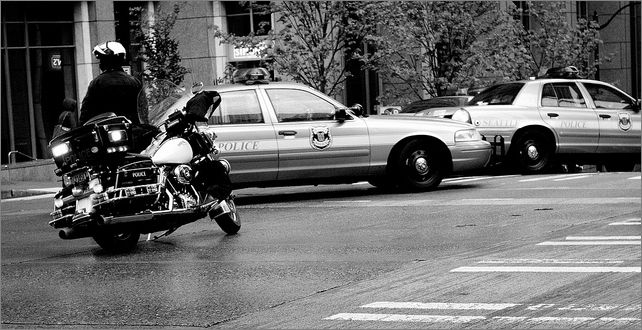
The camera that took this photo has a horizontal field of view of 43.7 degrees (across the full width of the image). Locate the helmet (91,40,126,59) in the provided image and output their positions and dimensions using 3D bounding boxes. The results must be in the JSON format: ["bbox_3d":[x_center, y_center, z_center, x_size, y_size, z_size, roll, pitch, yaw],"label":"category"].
[{"bbox_3d":[-3.966,-2.165,14.940,0.551,0.237,0.337,2,2,0],"label":"helmet"}]

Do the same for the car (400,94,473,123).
[{"bbox_3d":[3.272,-1.630,22.409,2.370,0.598,0.898,2,-1,-9],"label":"car"}]

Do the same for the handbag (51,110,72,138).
[{"bbox_3d":[-4.587,-0.732,14.179,0.376,0.463,0.313,-7,16,-12],"label":"handbag"}]
